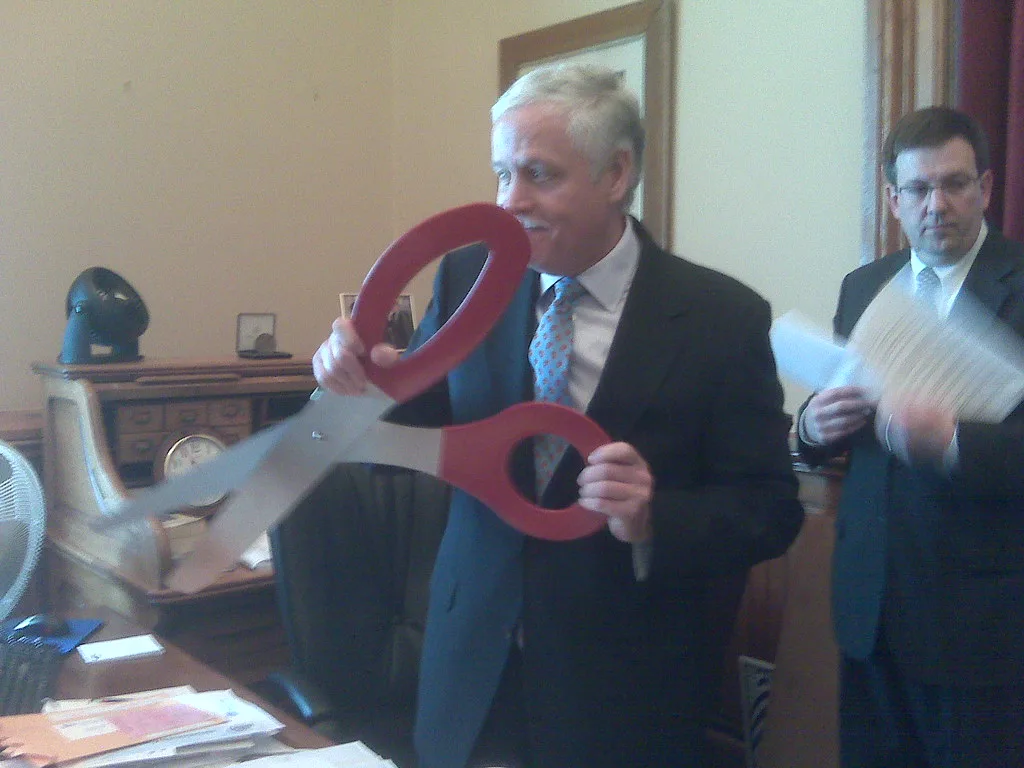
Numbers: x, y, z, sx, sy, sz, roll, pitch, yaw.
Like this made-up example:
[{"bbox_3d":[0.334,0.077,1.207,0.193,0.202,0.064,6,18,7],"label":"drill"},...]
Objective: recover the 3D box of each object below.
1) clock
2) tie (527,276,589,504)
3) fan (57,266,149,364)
[{"bbox_3d":[-0.872,0.190,2.562,0.312,0.332,0.100,0,4,-38],"label":"clock"},{"bbox_3d":[0.077,-0.014,1.660,0.062,0.466,0.051,15,-6,-35],"label":"tie"},{"bbox_3d":[-1.081,-0.176,2.511,0.185,0.264,0.235,7,9,7],"label":"fan"}]
